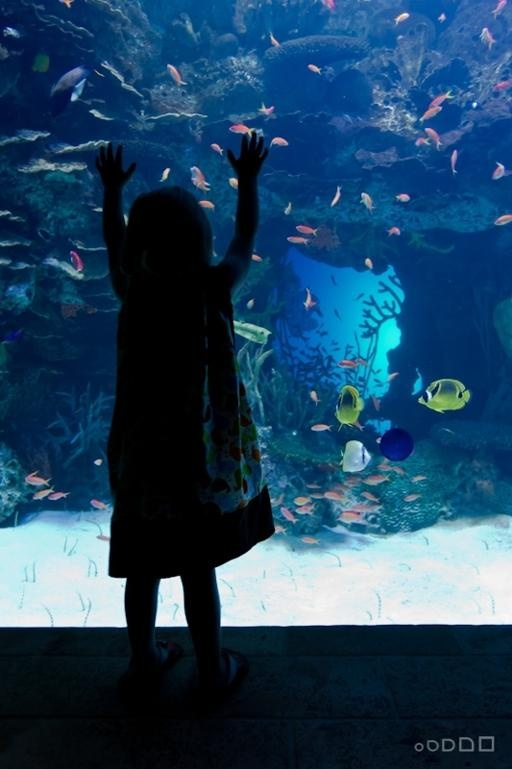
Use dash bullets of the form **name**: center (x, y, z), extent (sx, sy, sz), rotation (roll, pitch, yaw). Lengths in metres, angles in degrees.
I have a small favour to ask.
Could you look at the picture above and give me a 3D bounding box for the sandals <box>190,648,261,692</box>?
- **sandals**: center (-0.153, 1.352, 3.127), extent (0.269, 0.121, 0.359), rotation (3, 0, 3)
